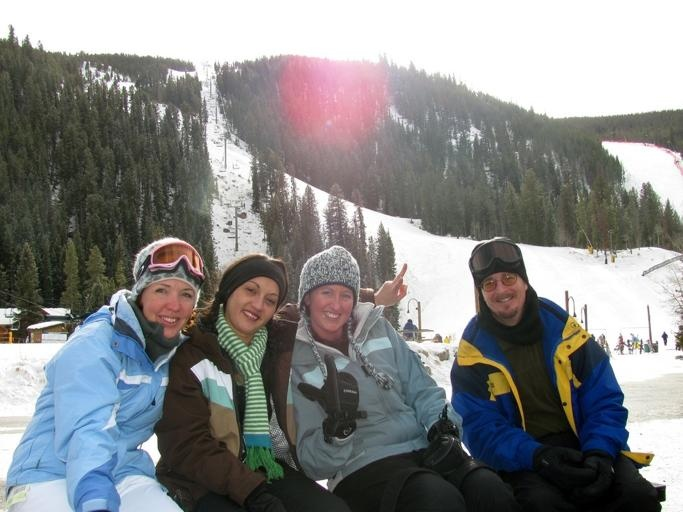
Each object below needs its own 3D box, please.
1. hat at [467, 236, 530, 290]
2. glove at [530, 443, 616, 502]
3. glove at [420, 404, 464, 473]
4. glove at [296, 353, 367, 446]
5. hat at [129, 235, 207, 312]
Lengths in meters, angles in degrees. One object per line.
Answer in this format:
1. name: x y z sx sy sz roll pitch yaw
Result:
1. hat: 1.468 0.027 5.788 0.366 0.289 0.581 -7 -63 17
2. glove: 1.938 1.804 5.141 0.499 0.253 0.414 25 -45 -1
3. glove: 0.817 1.605 5.389 0.297 0.516 0.484 1 -38 1
4. glove: -0.061 1.441 5.884 0.510 1.050 0.806 -2 -21 9
5. hat: -1.567 0.100 5.521 0.477 0.587 0.664 15 -37 -23
